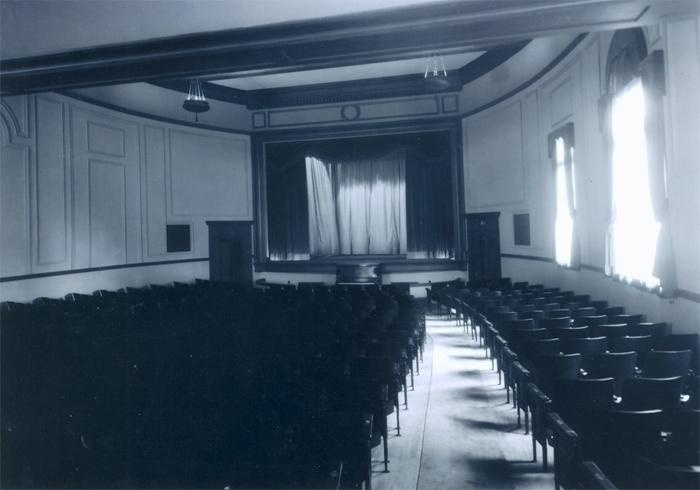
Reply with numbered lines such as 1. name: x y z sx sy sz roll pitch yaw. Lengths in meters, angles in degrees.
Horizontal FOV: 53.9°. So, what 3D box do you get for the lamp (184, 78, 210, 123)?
1. lamp: -3.394 -3.236 15.251 0.452 0.949 0.477 -2 -6 5
